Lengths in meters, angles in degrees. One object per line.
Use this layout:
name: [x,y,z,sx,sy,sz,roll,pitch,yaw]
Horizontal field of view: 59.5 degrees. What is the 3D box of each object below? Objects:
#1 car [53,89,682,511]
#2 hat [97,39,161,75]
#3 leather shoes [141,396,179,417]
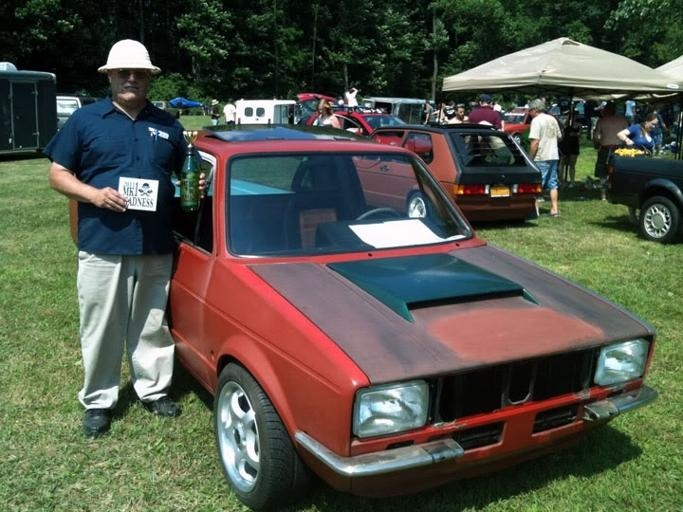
car: [-0.366,-0.206,4.297,2.144,1.485,3.963,-10,21,-33]
hat: [-1.441,-1.358,4.019,0.393,0.201,0.430,4,14,26]
leather shoes: [-1.298,1.083,4.279,0.225,0.091,0.130,8,13,28]
